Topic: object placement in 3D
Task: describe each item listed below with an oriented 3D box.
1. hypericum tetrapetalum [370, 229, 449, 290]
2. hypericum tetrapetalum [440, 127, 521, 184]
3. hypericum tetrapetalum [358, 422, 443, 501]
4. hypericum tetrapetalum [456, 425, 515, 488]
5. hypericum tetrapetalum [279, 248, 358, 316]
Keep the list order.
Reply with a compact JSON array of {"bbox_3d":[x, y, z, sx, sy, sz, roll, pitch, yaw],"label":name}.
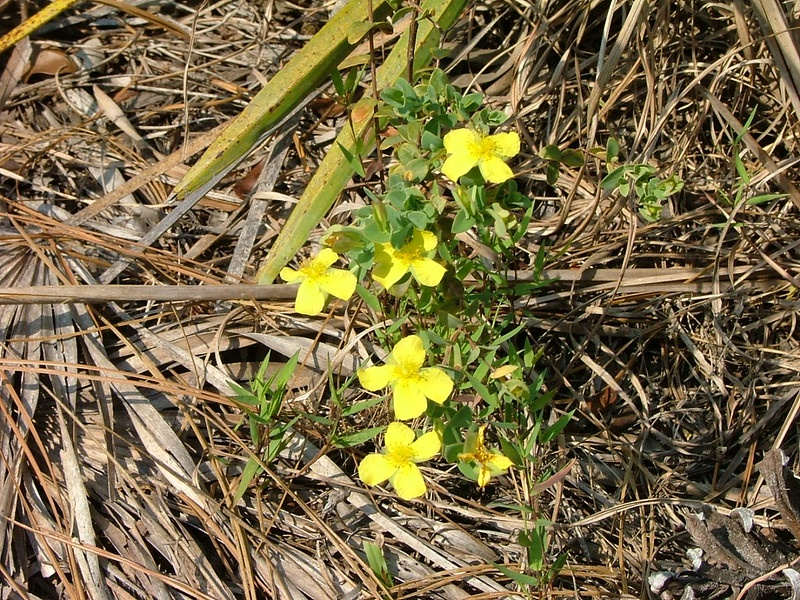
[{"bbox_3d":[0.014,-0.062,1.499,0.125,0.114,0.083,4,56,-6],"label":"hypericum tetrapetalum"},{"bbox_3d":[0.154,-0.277,1.498,0.115,0.143,0.032,-31,84,-25],"label":"hypericum tetrapetalum"},{"bbox_3d":[0.000,0.283,1.496,0.123,0.101,0.113,20,55,6],"label":"hypericum tetrapetalum"},{"bbox_3d":[0.149,0.273,1.494,0.109,0.044,0.104,9,89,5],"label":"hypericum tetrapetalum"},{"bbox_3d":[-0.163,-0.056,1.560,0.132,0.128,0.047,4,80,6],"label":"hypericum tetrapetalum"}]
